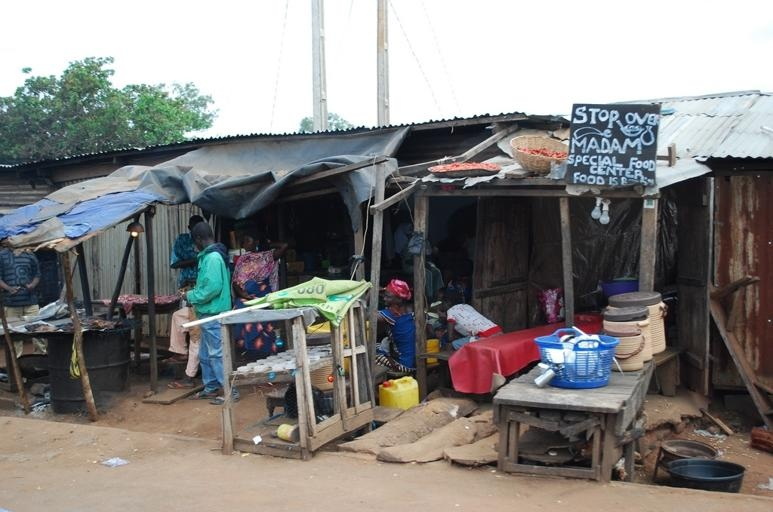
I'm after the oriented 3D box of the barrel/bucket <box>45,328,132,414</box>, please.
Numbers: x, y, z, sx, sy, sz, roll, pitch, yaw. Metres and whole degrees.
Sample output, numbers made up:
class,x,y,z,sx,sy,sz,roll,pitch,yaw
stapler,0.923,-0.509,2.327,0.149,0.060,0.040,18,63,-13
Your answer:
class,x,y,z,sx,sy,sz,roll,pitch,yaw
barrel/bucket,-4.695,1.715,11.964,1.417,1.335,1.338,-1,1,0

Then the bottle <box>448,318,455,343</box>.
class,x,y,z,sx,sy,sz,roll,pitch,yaw
bottle,1.002,1.163,11.714,0.116,0.281,0.222,5,0,3

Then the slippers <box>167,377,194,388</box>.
class,x,y,z,sx,sy,sz,roll,pitch,yaw
slippers,-3.429,2.071,12.260,0.460,0.172,0.170,1,0,6

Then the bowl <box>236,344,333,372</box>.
class,x,y,z,sx,sy,sz,roll,pitch,yaw
bowl,-1.288,1.355,9.887,0.882,0.243,1.269,1,4,42

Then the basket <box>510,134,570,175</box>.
class,x,y,z,sx,sy,sz,roll,pitch,yaw
basket,2.112,-1.488,11.235,0.847,0.317,0.774,14,-24,-41

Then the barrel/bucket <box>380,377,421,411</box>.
class,x,y,z,sx,sy,sz,roll,pitch,yaw
barrel/bucket,0.167,2.070,11.082,0.598,0.521,0.384,-1,10,-34

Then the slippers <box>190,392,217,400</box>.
class,x,y,z,sx,sy,sz,roll,pitch,yaw
slippers,-2.891,2.216,11.836,0.315,0.103,0.145,3,0,-5

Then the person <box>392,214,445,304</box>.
class,x,y,z,sx,sy,sz,roll,pitch,yaw
person,0.536,0.055,12.868,0.645,1.577,0.763,-17,6,-11

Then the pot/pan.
class,x,y,z,sx,sy,sz,roll,pitch,yaw
pot/pan,4.002,2.753,9.669,0.904,0.456,1.132,-2,3,-7

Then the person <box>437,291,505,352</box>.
class,x,y,z,sx,sy,sz,roll,pitch,yaw
person,1.299,1.056,11.887,0.931,0.485,1.277,-27,33,-22

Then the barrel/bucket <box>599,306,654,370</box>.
class,x,y,z,sx,sy,sz,roll,pitch,yaw
barrel/bucket,3.062,1.070,10.088,0.832,0.755,0.716,-2,4,2

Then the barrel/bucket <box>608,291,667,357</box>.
class,x,y,z,sx,sy,sz,roll,pitch,yaw
barrel/bucket,3.476,1.044,10.452,0.805,0.701,0.801,14,-23,6

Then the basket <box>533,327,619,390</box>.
class,x,y,z,sx,sy,sz,roll,pitch,yaw
basket,2.355,1.282,9.395,0.924,0.462,0.737,0,-1,11

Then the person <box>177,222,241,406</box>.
class,x,y,z,sx,sy,sz,roll,pitch,yaw
person,-2.730,0.876,11.449,0.689,2.818,0.821,-3,5,-14

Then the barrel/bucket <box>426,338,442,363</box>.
class,x,y,z,sx,sy,sz,roll,pitch,yaw
barrel/bucket,0.720,1.520,11.890,0.381,0.414,0.361,0,-2,0

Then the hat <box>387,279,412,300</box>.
class,x,y,z,sx,sy,sz,roll,pitch,yaw
hat,0.203,0.509,11.745,0.383,0.265,0.258,24,12,-10
